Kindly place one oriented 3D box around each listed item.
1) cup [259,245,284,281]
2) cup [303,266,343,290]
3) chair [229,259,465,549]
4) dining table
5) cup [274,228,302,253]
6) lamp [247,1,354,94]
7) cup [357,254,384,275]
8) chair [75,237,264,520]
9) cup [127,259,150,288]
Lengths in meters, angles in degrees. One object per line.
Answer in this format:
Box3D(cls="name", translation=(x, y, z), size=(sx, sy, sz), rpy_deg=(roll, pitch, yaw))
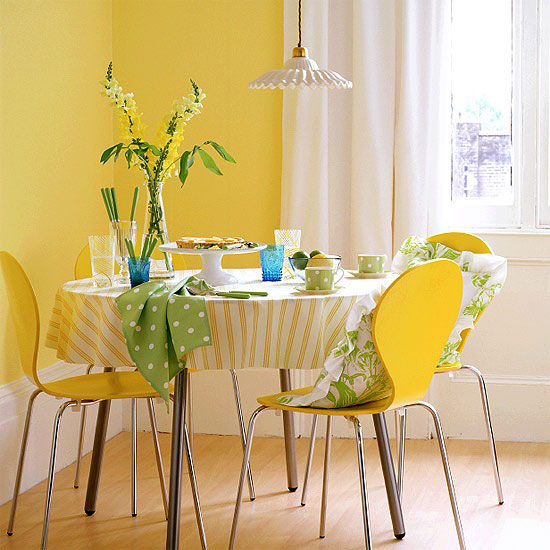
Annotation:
Box3D(cls="cup", translation=(-0.006, -0.037, 1.791), size=(0.099, 0.147, 0.095), rpy_deg=(1, 7, 0))
Box3D(cls="cup", translation=(0.134, 0.020, 1.537), size=(0.087, 0.061, 0.067), rpy_deg=(5, -4, -38))
Box3D(cls="chair", translation=(0.191, 0.400, 1.444), size=(0.516, 0.924, 0.555), rpy_deg=(-4, 11, -5))
Box3D(cls="dining table", translation=(-0.192, 0.224, 1.769), size=(0.811, 0.654, 0.873), rpy_deg=(0, -6, 0))
Box3D(cls="cup", translation=(0.048, -0.113, 1.949), size=(0.089, 0.110, 0.090), rpy_deg=(-1, 4, 0))
Box3D(cls="lamp", translation=(0.072, -0.703, 1.761), size=(0.219, 0.251, 0.273), rpy_deg=(-12, 14, -40))
Box3D(cls="cup", translation=(0.324, -0.032, 1.917), size=(0.067, 0.055, 0.067), rpy_deg=(-2, 2, 0))
Box3D(cls="chair", translation=(-0.338, 0.165, 1.651), size=(0.421, 0.569, 0.419), rpy_deg=(-1, -2, 38))
Box3D(cls="cup", translation=(-0.368, -0.001, 1.538), size=(0.062, 0.079, 0.067), rpy_deg=(0, -3, 0))
